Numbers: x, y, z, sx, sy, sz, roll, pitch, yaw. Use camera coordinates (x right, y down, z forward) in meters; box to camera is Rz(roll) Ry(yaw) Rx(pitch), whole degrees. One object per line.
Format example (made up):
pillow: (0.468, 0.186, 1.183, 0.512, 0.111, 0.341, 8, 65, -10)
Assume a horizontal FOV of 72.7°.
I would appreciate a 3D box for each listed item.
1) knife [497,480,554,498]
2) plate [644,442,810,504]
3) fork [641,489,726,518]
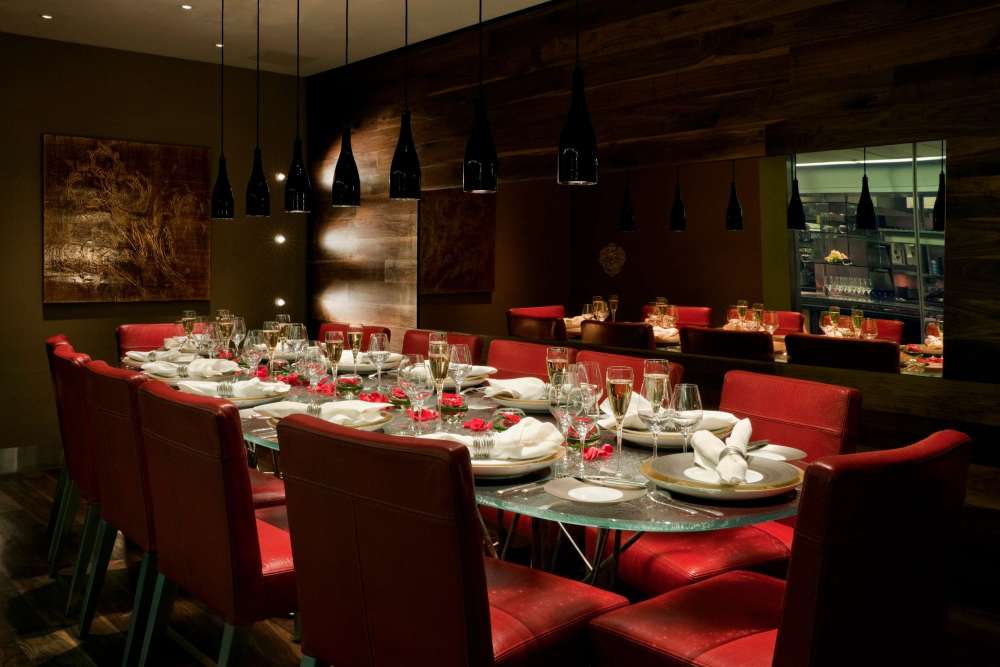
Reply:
knife: (0.079, 0.471, 2.065, 0.205, 0.009, 0.096, -6, 10, -31)
plate: (0.703, 0.440, 2.120, 0.523, 0.067, 0.340, 0, 9, 5)
fork: (0.539, 0.471, 1.956, 0.064, 0.035, 0.258, -6, 10, -29)
